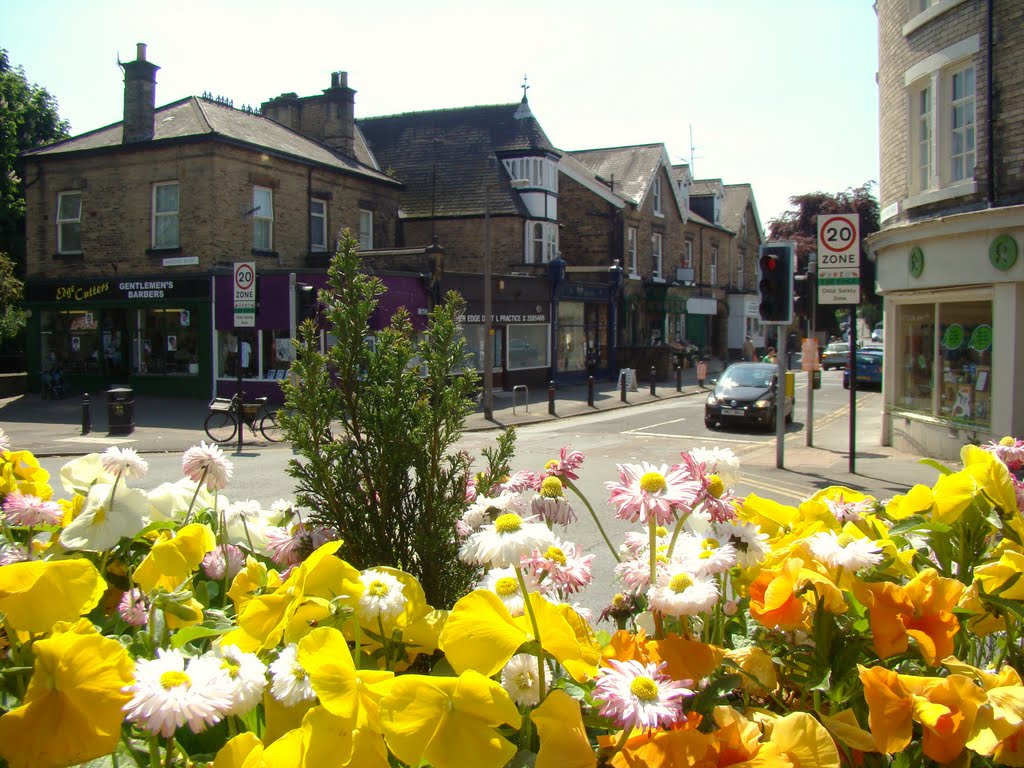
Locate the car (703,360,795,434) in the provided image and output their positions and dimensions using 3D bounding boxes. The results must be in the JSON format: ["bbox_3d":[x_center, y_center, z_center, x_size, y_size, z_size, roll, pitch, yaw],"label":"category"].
[{"bbox_3d":[5.180,0.217,21.785,0.998,1.070,2.568,-1,-2,23],"label":"car"}]

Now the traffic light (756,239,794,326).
[{"bbox_3d":[3.816,-1.456,14.501,0.476,1.189,0.512,1,3,12],"label":"traffic light"}]

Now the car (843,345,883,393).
[{"bbox_3d":[12.463,-0.515,34.879,1.126,1.175,2.506,4,16,28],"label":"car"}]

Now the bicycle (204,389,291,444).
[{"bbox_3d":[-5.133,0.587,18.947,1.217,0.981,4.546,-1,3,-17],"label":"bicycle"}]

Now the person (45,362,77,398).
[{"bbox_3d":[-12.709,-0.108,28.051,0.735,0.909,1.327,-1,3,-26],"label":"person"}]
